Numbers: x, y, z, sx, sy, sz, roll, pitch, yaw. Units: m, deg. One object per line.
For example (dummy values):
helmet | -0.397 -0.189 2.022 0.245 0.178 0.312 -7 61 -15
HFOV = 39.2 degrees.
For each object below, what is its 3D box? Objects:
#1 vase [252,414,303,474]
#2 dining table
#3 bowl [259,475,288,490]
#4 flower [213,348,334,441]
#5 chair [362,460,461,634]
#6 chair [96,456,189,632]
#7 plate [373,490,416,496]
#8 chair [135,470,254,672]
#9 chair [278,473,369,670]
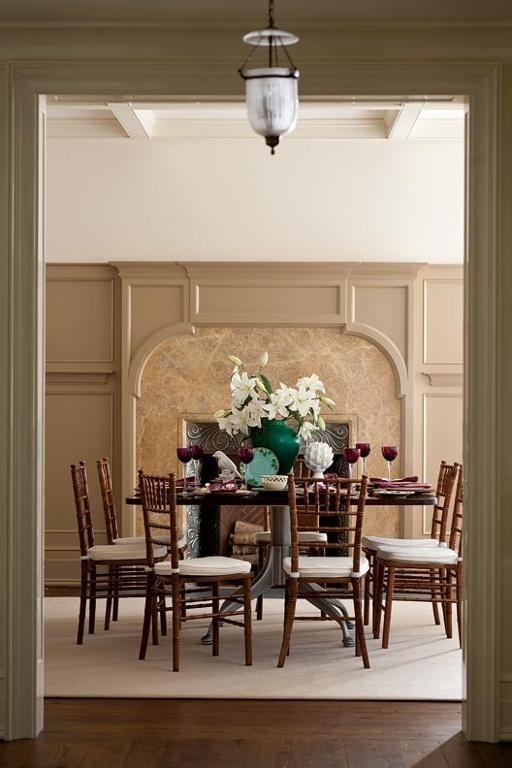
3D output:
vase | 0.123 0.330 3.919 0.274 0.328 0.278 0 -10 0
dining table | 0.237 0.783 3.862 1.110 0.691 1.080 -1 -9 1
bowl | 0.080 0.494 3.604 0.097 0.046 0.092 2 -6 0
flower | 0.113 0.131 4.096 0.683 0.364 0.614 -3 17 -24
chair | 0.865 0.877 3.968 0.498 0.860 0.491 1 -6 -12
chair | -0.749 0.941 4.088 0.612 0.900 0.613 1 -10 -25
plate | 0.707 0.566 3.698 0.215 0.029 0.127 -1 -6 5
chair | -0.300 0.903 3.534 0.556 0.897 0.541 1 -8 -8
chair | 0.319 0.876 3.462 0.421 0.847 0.514 1 -7 3
